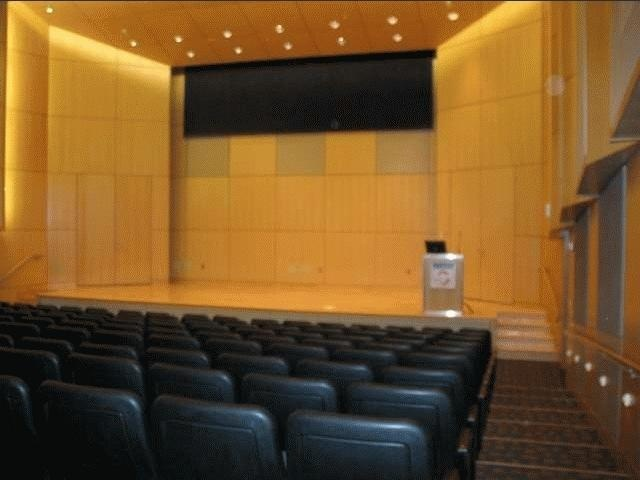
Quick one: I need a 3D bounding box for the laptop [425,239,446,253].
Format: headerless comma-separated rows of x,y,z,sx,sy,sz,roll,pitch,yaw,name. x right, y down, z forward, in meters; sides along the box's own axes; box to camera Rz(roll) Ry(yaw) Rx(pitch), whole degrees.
1.962,0.100,8.849,0.260,0.239,0.061,0,12,7,laptop
